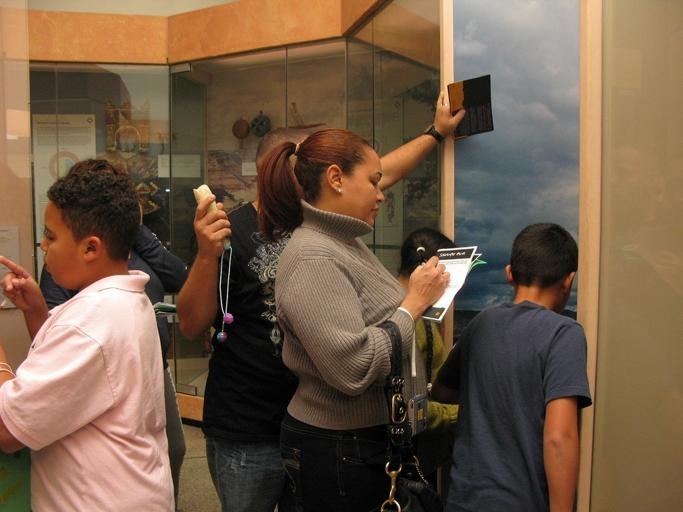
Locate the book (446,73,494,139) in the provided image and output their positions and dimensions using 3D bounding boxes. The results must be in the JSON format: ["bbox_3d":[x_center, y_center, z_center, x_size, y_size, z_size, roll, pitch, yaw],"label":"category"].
[{"bbox_3d":[0.617,-0.713,2.851,0.252,0.353,0.046,-10,6,30],"label":"book"}]

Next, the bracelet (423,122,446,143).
[{"bbox_3d":[0.453,-0.581,2.990,0.102,0.068,0.098,39,-9,-4],"label":"bracelet"}]

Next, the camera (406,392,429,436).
[{"bbox_3d":[0.321,0.595,2.285,0.073,0.129,0.142,-6,-10,25],"label":"camera"}]

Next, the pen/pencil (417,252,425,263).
[{"bbox_3d":[0.344,0.004,2.567,0.019,0.012,0.052,3,36,3],"label":"pen/pencil"}]
